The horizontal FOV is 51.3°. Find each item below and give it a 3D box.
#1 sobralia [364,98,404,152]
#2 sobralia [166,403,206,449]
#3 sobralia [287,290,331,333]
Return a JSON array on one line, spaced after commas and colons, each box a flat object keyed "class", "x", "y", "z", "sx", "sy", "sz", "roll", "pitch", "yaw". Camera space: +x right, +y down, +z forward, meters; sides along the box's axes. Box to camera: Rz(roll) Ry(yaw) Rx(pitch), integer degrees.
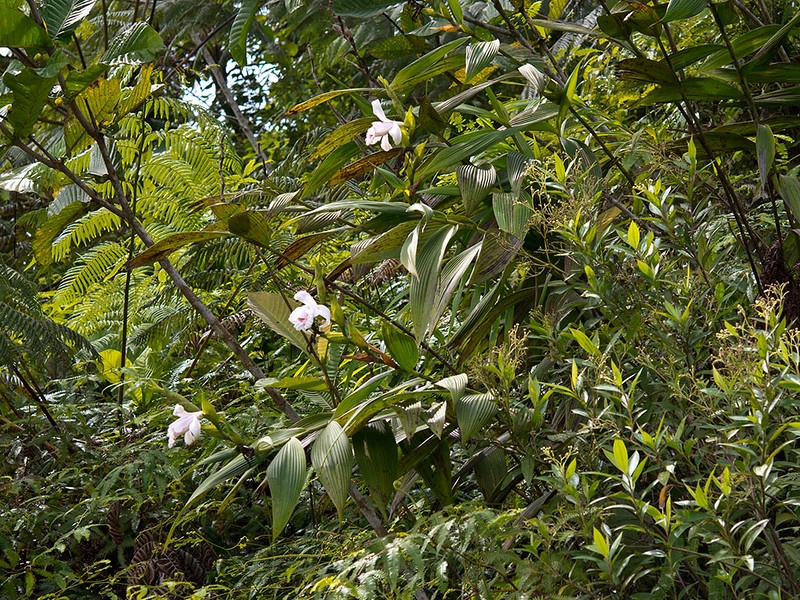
[{"class": "sobralia", "x": -0.037, "y": -0.417, "z": 1.990, "sx": 0.110, "sy": 0.093, "sz": 0.090, "roll": -15, "pitch": 40, "yaw": -28}, {"class": "sobralia", "x": -0.476, "y": 0.279, "z": 1.837, "sx": 0.057, "sy": 0.093, "sz": 0.095, "roll": 3, "pitch": 49, "yaw": -22}, {"class": "sobralia", "x": -0.202, "y": 0.035, "z": 1.777, "sx": 0.059, "sy": 0.027, "sz": 0.063, "roll": 20, "pitch": 49, "yaw": 20}]
